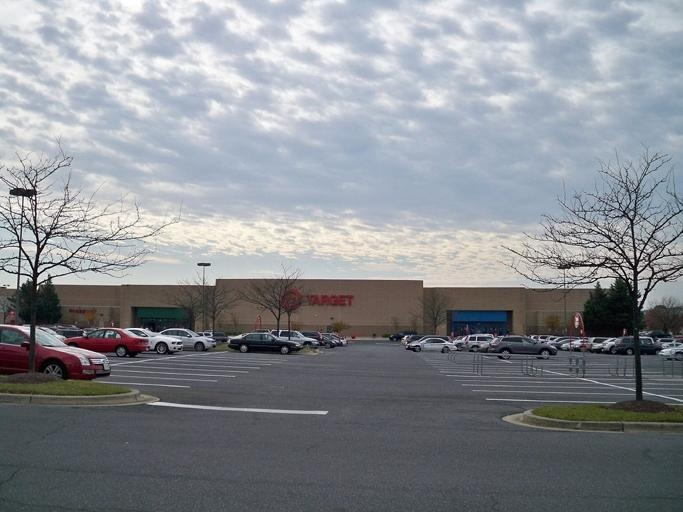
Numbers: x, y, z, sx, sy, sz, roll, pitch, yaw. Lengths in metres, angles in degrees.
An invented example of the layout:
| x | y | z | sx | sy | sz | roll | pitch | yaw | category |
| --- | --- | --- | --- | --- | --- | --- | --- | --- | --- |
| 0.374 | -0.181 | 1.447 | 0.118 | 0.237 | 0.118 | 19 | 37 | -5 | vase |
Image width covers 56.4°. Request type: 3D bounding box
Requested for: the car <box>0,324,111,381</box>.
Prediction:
| x | y | z | sx | sy | sz | roll | pitch | yaw | category |
| --- | --- | --- | --- | --- | --- | --- | --- | --- | --- |
| -8.570 | 2.901 | 19.023 | 3.550 | 1.092 | 1.440 | -1 | -4 | 3 | car |
